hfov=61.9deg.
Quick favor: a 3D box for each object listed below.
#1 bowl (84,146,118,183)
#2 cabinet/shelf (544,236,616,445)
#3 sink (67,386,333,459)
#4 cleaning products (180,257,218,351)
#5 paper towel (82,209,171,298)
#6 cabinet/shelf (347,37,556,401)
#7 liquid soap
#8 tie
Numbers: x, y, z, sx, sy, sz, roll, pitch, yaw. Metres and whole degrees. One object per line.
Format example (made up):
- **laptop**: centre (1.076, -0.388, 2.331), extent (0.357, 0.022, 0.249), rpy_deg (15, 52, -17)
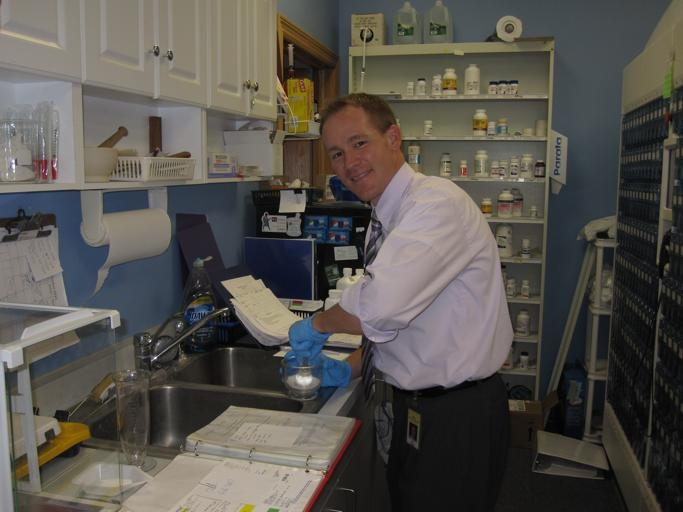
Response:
- **bowl**: centre (-0.719, -0.274, 1.709), extent (0.092, 0.075, 0.097), rpy_deg (-1, 6, 0)
- **cabinet/shelf**: centre (1.631, 0.524, 3.966), extent (0.295, 1.441, 0.901), rpy_deg (7, 15, 22)
- **sink**: centre (-0.542, 0.532, 1.788), extent (0.369, 0.110, 0.391), rpy_deg (1, 4, 15)
- **cleaning products**: centre (-0.599, 0.197, 2.431), extent (0.132, 0.380, 0.141), rpy_deg (0, 12, -5)
- **paper towel**: centre (-0.780, -0.026, 2.074), extent (0.176, 0.305, 0.306), rpy_deg (8, 16, 22)
- **cabinet/shelf**: centre (0.947, -0.143, 4.566), extent (1.246, 2.721, 1.158), rpy_deg (2, 6, 12)
- **liquid soap**: centre (-0.592, 0.199, 2.403), extent (0.105, 0.360, 0.187), rpy_deg (5, 11, 9)
- **tie**: centre (0.097, 0.178, 1.972), extent (0.079, 0.516, 0.194), rpy_deg (4, 12, 9)
